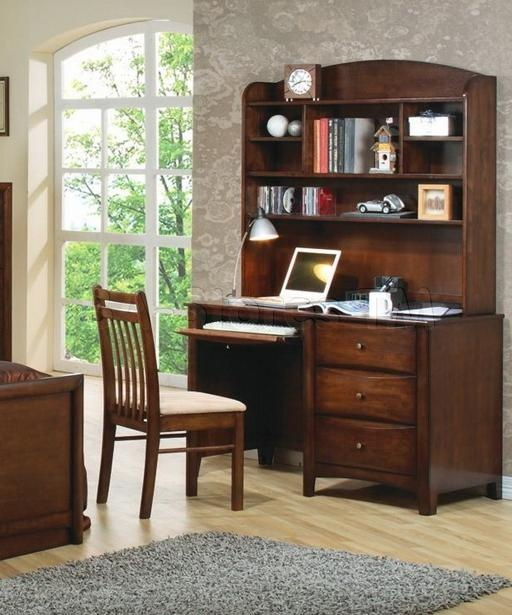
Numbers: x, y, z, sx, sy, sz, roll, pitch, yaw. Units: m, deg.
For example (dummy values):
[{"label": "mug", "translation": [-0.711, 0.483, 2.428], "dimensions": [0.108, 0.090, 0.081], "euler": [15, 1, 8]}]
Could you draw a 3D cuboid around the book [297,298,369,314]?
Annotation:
[{"label": "book", "translation": [0.362, 0.002, 2.709], "dimensions": [0.301, 0.047, 0.240], "euler": [-1, 5, -17]}]

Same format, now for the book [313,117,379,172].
[{"label": "book", "translation": [0.428, -0.750, 2.960], "dimensions": [0.326, 0.238, 0.097], "euler": [0, 5, 6]}]

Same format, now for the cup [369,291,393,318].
[{"label": "cup", "translation": [0.505, -0.013, 2.586], "dimensions": [0.088, 0.095, 0.065], "euler": [1, 5, 8]}]

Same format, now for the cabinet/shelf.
[{"label": "cabinet/shelf", "translation": [0.412, -0.157, 2.827], "dimensions": [1.226, 1.986, 0.634], "euler": [4, 7, 35]}]

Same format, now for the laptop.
[{"label": "laptop", "translation": [0.179, -0.134, 3.068], "dimensions": [0.378, 0.234, 0.354], "euler": [-1, 4, -43]}]
